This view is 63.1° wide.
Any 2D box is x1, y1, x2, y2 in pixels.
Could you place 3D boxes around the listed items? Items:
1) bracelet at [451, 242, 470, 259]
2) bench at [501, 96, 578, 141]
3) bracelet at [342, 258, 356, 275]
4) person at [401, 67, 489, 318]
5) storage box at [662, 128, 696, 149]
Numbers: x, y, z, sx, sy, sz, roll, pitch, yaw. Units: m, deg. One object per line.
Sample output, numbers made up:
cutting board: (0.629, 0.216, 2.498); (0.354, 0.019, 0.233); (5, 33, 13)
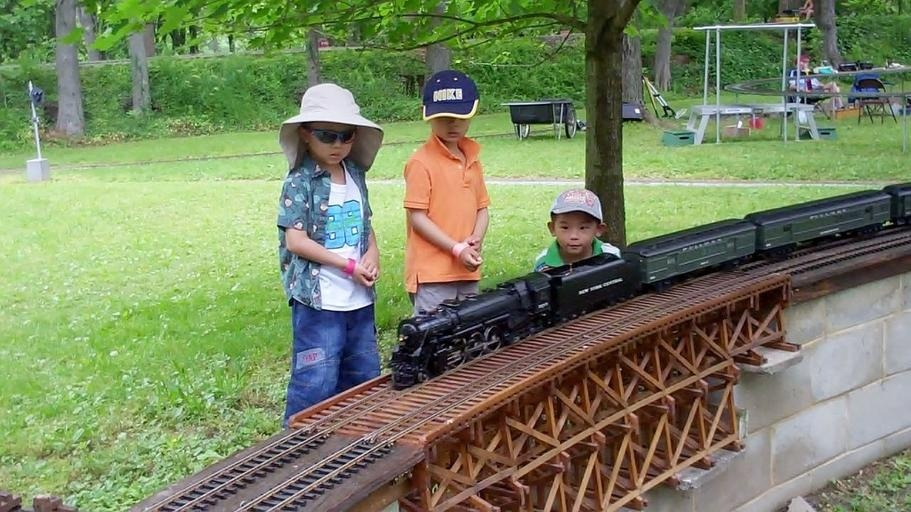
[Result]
bracelet: (0.102, -0.095, 10.349); (0.212, 0.190, 0.260); (2, 11, 28)
bench: (4.254, -6.289, 33.541); (2.164, 1.172, 2.565); (4, 18, 21)
bracelet: (-1.419, 0.154, 9.887); (0.165, 0.194, 0.100); (13, -5, -16)
person: (-0.172, -0.896, 10.514); (1.278, 3.395, 0.995); (-6, 10, -8)
storage box: (8.963, -4.687, 29.694); (0.885, 0.478, 1.064); (-3, 8, -14)
